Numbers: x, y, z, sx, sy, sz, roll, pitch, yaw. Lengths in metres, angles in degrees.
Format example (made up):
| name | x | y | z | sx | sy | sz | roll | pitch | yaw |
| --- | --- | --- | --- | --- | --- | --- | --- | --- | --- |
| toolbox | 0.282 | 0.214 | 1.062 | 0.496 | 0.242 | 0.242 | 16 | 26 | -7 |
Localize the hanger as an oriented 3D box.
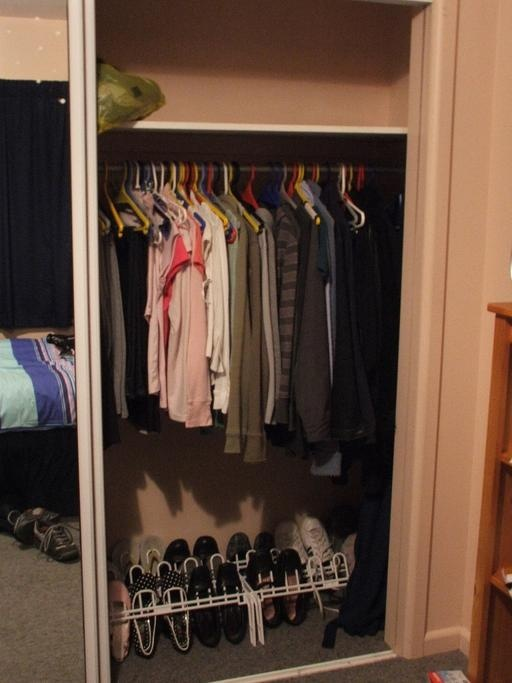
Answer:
| name | x | y | z | sx | sy | sz | roll | pitch | yaw |
| --- | --- | --- | --- | --- | --- | --- | --- | --- | --- |
| hanger | -0.071 | -0.437 | 1.954 | 0.821 | 0.247 | 0.466 | -2 | 9 | -18 |
